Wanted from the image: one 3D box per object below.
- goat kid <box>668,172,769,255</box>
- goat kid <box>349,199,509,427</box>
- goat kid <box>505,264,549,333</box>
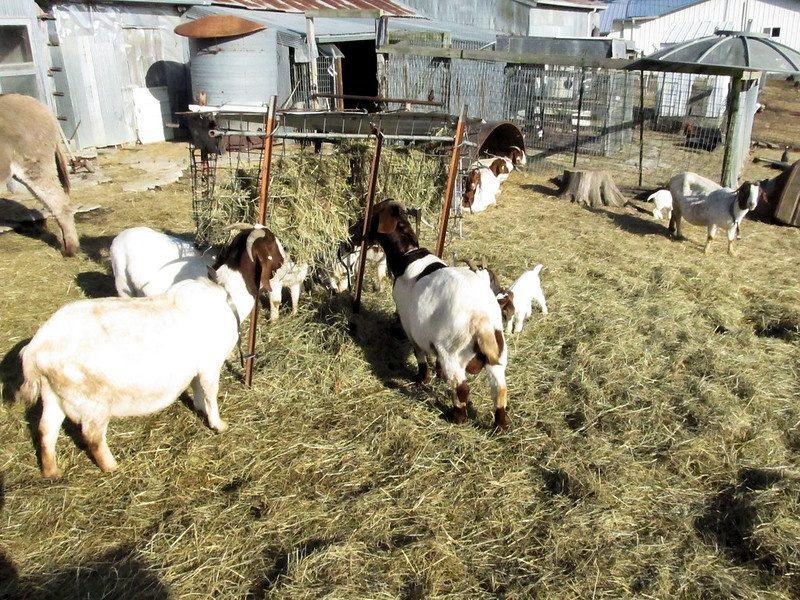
[{"bbox_3d":[4.921,-1.449,8.839,0.535,1.293,1.784,-15,31,-13],"label":"goat kid"},{"bbox_3d":[0.195,0.160,5.410,0.699,1.724,2.324,-15,38,-23],"label":"goat kid"},{"bbox_3d":[1.445,-0.003,6.384,0.229,0.482,0.764,16,49,34],"label":"goat kid"}]
